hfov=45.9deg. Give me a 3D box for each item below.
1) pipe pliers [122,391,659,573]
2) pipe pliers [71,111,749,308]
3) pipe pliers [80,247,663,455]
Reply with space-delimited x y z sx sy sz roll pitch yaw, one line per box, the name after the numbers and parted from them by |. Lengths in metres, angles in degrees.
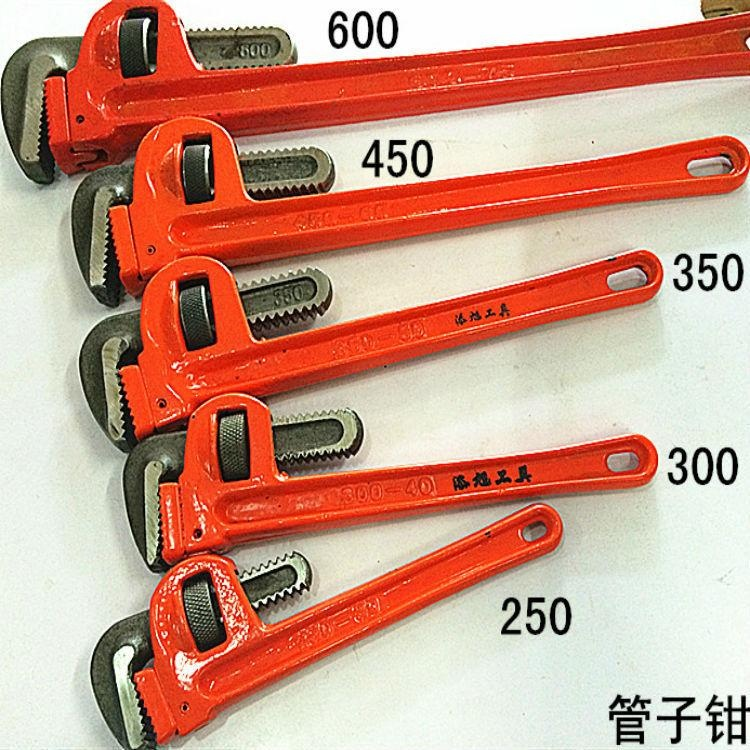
0.073 0.274 1.788 1.073 0.437 0.182 -4 -33 0 | pipe pliers
0.147 -0.318 2.071 1.608 0.592 0.195 -6 -19 -4 | pipe pliers
0.035 -0.002 1.884 1.233 0.497 0.211 -8 -28 0 | pipe pliers
